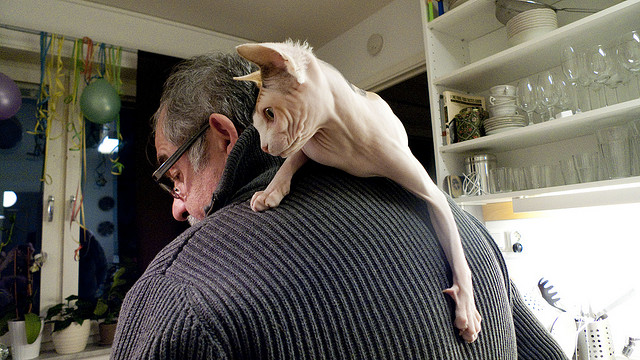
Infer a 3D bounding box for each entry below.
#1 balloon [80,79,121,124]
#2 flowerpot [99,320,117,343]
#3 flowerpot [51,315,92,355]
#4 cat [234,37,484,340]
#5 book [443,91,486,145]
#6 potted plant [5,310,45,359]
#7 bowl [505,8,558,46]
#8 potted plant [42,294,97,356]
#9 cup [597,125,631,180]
[{"bbox_3d":[-1.853,-0.648,3.944,0.320,0.411,0.317,3,4,42],"label":"balloon"},{"bbox_3d":[-1.776,1.256,3.912,0.124,0.160,0.223,3,1,-25],"label":"flowerpot"},{"bbox_3d":[-1.996,1.234,3.758,0.230,0.215,0.272,2,-18,-17],"label":"flowerpot"},{"bbox_3d":[0.305,0.077,2.228,1.073,0.620,1.215,20,12,36],"label":"cat"},{"bbox_3d":[0.992,-0.413,3.275,0.338,0.406,0.055,6,-14,-27],"label":"book"},{"bbox_3d":[-2.270,1.185,3.706,0.325,0.371,0.341,-1,-13,-8],"label":"potted plant"},{"bbox_3d":[1.375,-1.002,3.062,0.238,0.155,0.245,-14,-12,-3],"label":"bowl"},{"bbox_3d":[-1.977,1.133,3.834,0.419,0.421,0.432,1,-9,-16],"label":"potted plant"},{"bbox_3d":[1.751,-0.153,2.790,0.189,0.291,0.212,-12,-28,25],"label":"cup"}]
